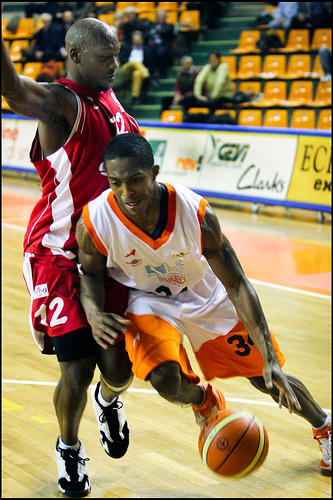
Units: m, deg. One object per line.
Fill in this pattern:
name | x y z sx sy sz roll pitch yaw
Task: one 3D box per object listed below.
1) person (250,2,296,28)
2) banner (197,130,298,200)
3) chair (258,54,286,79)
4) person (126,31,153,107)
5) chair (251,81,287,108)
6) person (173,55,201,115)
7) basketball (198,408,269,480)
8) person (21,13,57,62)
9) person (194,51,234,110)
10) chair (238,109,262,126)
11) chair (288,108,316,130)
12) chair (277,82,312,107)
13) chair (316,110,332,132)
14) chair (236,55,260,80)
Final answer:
person | 2.743 -5.971 10.631 0.929 0.583 0.939 2 34 5
banner | 1.509 -1.501 7.318 2.017 1.240 0.089 14 8 43
chair | 2.609 -4.528 10.195 0.618 0.575 0.601 2 1 21
person | -0.830 -5.055 11.325 0.784 1.776 1.037 16 35 16
chair | 2.303 -3.451 9.220 0.677 0.614 1.074 4 22 16
person | 0.445 -3.809 10.025 0.627 1.627 0.916 14 25 22
basketball | 0.201 0.614 1.315 0.176 0.167 0.215 2 1 -20
person | -3.827 -6.501 12.938 0.769 1.914 0.548 12 21 36
person | 1.035 -3.834 9.324 0.988 1.227 0.756 -7 19 -21
chair | 1.721 -2.743 8.579 0.530 0.295 0.291 2 1 23
chair | 2.654 -2.561 8.047 0.468 0.384 0.451 2 1 16
chair | 2.806 -3.384 8.941 0.652 0.562 0.855 2 1 21
chair | 2.926 -2.422 7.653 0.226 0.395 0.576 2 1 19
chair | 2.056 -4.643 10.519 0.605 0.566 0.536 2 1 20
